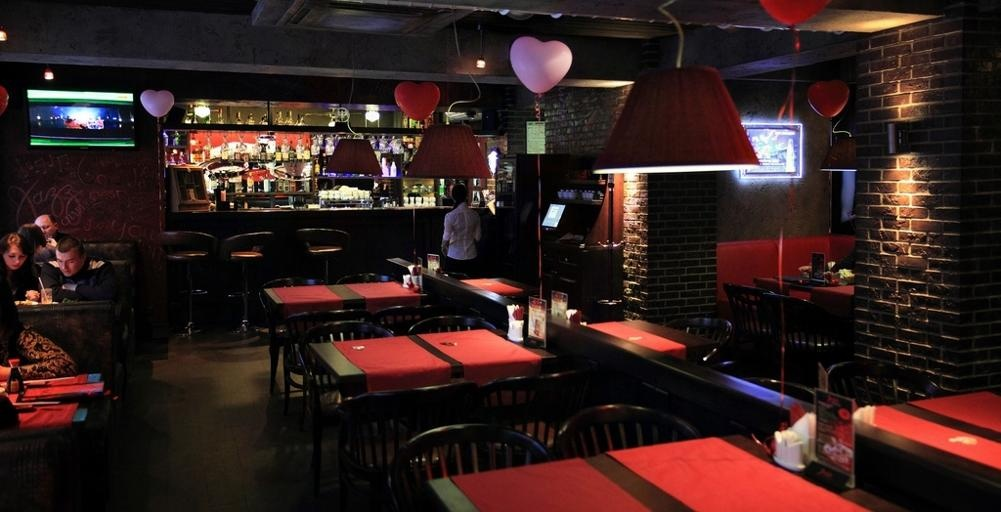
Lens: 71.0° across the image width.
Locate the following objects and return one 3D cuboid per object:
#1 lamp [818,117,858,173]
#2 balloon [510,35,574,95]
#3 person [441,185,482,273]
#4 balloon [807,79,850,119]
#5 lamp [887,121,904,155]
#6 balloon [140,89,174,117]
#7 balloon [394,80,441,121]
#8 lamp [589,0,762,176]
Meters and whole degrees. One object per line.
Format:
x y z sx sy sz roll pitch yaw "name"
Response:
5.477 -1.798 11.376 0.455 0.856 2.612 1 8 25 "lamp"
0.462 -2.365 8.802 0.930 0.661 0.591 -3 10 -18 "balloon"
-0.671 -0.445 12.111 0.636 1.571 0.449 -3 8 -4 "person"
4.588 -2.181 9.774 0.553 0.505 0.645 0 6 -28 "balloon"
4.516 -1.351 8.051 0.067 0.368 0.170 -6 9 -23 "lamp"
-5.411 -2.413 11.038 0.642 0.473 0.349 0 7 -21 "balloon"
-1.130 -2.104 9.492 0.722 0.484 0.408 -3 1 -12 "balloon"
1.495 -1.309 6.038 1.676 1.286 1.328 -4 9 -21 "lamp"
